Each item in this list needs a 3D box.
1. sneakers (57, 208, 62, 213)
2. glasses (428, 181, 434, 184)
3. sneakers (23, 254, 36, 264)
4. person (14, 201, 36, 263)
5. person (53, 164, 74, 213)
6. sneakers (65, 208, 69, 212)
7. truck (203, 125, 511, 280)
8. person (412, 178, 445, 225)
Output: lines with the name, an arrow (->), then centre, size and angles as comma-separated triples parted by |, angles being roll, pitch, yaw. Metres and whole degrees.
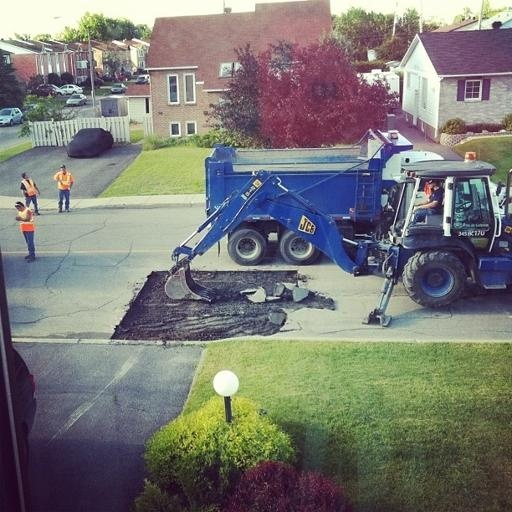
sneakers -> -7.184, -1.662, 19.119 | 0.088, 0.185, 0.271 | 1, -1, 16
glasses -> 3.184, -1.343, 9.513 | 0.025, 0.055, 0.096 | -10, 18, -33
sneakers -> -5.903, 0.085, 13.576 | 0.148, 0.189, 0.441 | -2, 8, -39
person -> -5.815, -0.644, 13.191 | 0.366, 1.635, 1.385 | -7, 16, -23
person -> -6.884, -2.399, 18.736 | 0.573, 1.746, 1.243 | -6, 16, -21
sneakers -> -6.958, -1.680, 19.209 | 0.087, 0.056, 0.123 | 4, 19, 2
truck -> 1.907, -0.831, 11.834 | 7.949, 3.400, 2.787 | -3, 24, -2
person -> 3.210, -0.974, 9.738 | 0.561, 1.018, 0.463 | 2, -4, 10
